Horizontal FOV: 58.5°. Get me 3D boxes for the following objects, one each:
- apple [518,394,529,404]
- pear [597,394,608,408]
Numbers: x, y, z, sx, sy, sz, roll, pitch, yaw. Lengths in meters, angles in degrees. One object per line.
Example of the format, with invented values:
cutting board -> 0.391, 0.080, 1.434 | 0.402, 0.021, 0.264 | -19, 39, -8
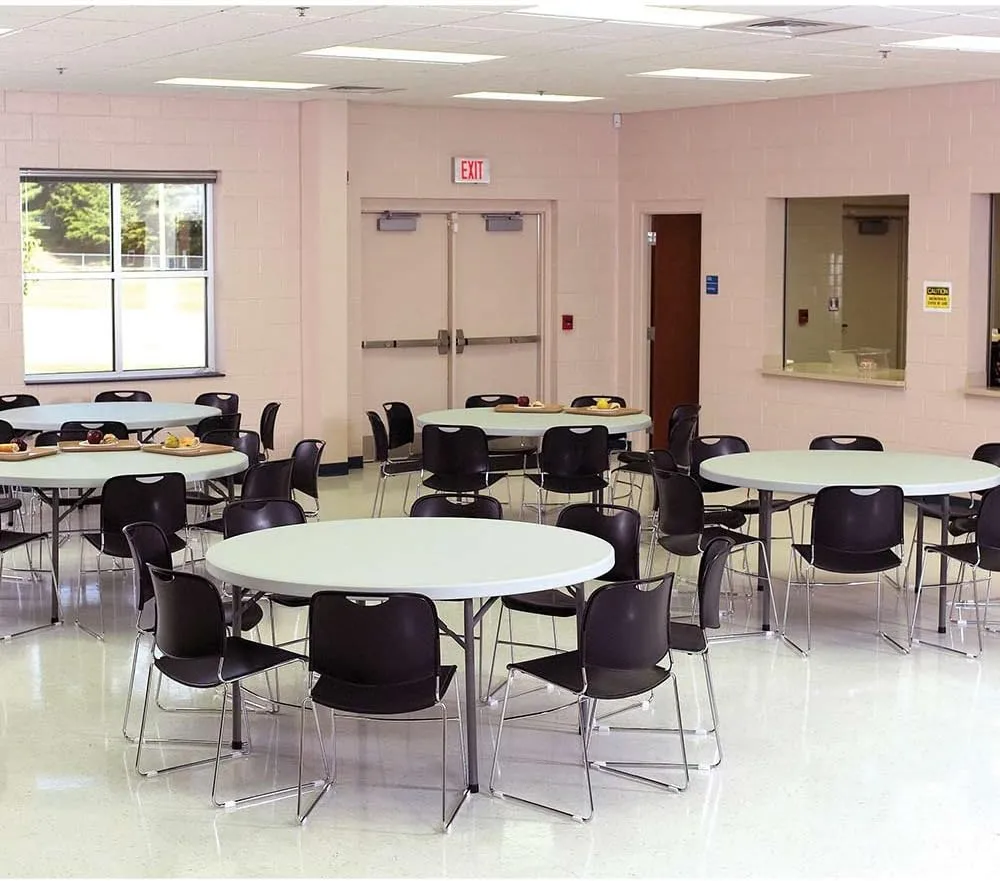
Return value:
apple -> 0.191, -0.363, 7.733 | 0.099, 0.084, 0.094 | 4, 8, 12
pear -> 0.860, -0.330, 7.490 | 0.094, 0.090, 0.094 | 8, 14, 39
